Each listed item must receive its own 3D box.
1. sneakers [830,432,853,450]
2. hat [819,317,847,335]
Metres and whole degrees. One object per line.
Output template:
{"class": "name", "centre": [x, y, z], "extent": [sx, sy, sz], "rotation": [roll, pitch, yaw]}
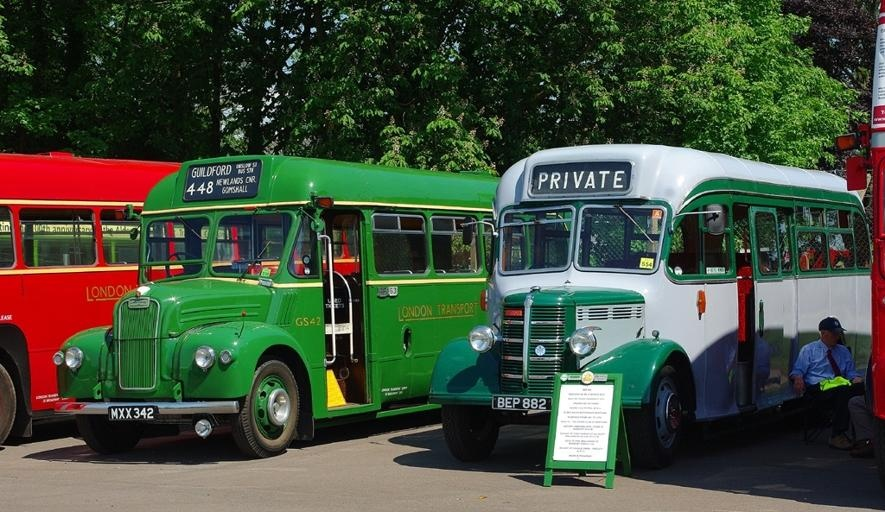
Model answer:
{"class": "sneakers", "centre": [6.828, 3.188, 14.746], "extent": [0.156, 0.162, 0.376], "rotation": [-3, 0, -42]}
{"class": "hat", "centre": [7.189, 1.257, 15.813], "extent": [0.494, 0.280, 0.340], "rotation": [-2, 4, -3]}
